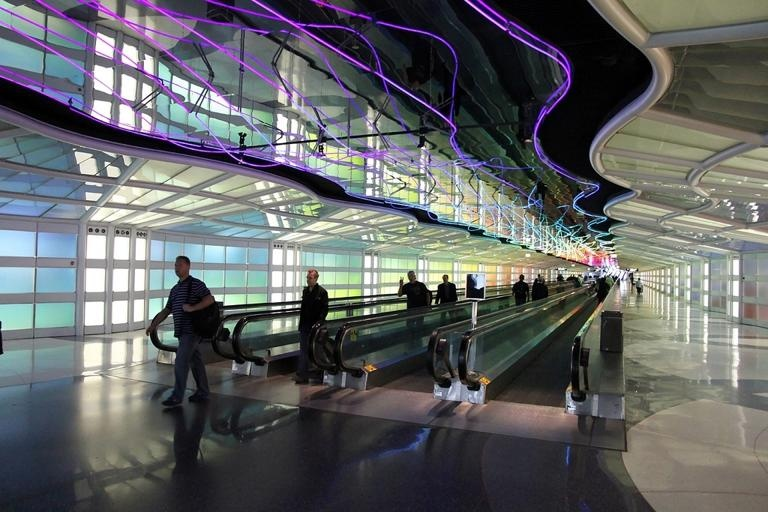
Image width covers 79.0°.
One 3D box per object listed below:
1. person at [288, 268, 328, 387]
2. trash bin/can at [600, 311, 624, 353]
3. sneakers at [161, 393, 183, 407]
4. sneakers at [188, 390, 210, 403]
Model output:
[{"bbox_3d":[-1.587,1.543,10.167,0.695,2.430,1.016,1,5,-9],"label":"person"},{"bbox_3d":[5.543,1.846,11.318,0.497,0.925,0.480,5,6,31],"label":"trash bin/can"},{"bbox_3d":[-3.862,2.684,8.612,0.382,0.136,0.204,11,-14,-43],"label":"sneakers"},{"bbox_3d":[-3.539,2.704,8.881,0.399,0.114,0.174,1,2,2],"label":"sneakers"}]
